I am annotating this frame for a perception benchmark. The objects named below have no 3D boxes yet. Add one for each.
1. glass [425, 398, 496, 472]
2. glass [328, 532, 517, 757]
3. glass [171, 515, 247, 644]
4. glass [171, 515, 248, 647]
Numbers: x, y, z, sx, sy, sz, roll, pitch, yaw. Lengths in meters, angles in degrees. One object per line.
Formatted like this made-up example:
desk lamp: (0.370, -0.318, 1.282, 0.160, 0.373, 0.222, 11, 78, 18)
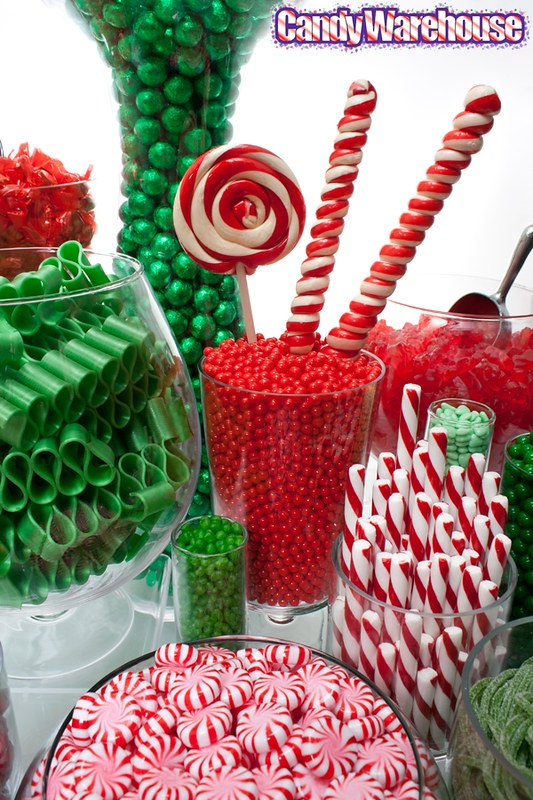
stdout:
glass: (0.249, 0.051, 0.907, 0.107, 0.112, 0.105, 2, -6, -2)
glass: (0.120, 0.247, 0.708, 0.177, 0.189, 0.181, -1, 25, -3)
glass: (-0.060, 0.197, 0.732, 0.075, 0.122, 0.073, 0, 14, -7)
glass: (-0.082, 0.205, 0.736, 0.087, 0.142, 0.086, -12, -19, 23)
